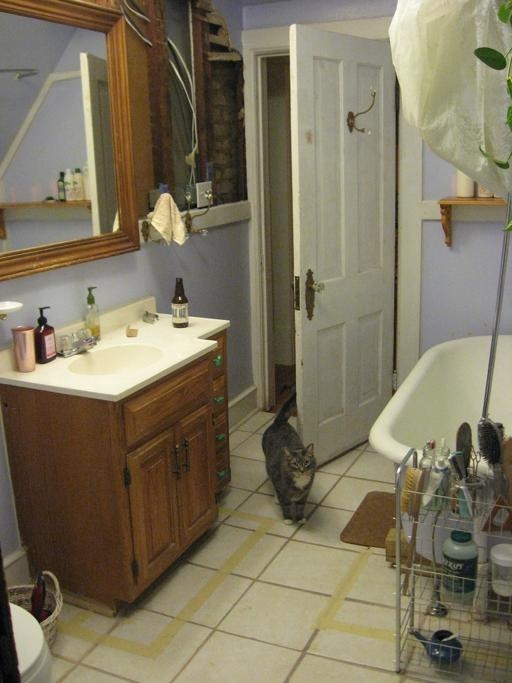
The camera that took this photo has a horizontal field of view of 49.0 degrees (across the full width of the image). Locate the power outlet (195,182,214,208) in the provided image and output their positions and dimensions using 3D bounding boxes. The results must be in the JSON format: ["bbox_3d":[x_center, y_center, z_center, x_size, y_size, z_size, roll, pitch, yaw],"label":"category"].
[{"bbox_3d":[-0.306,-0.870,3.312,0.023,0.185,0.152,11,17,37],"label":"power outlet"}]

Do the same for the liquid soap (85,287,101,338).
[{"bbox_3d":[-0.727,-0.127,2.499,0.065,0.232,0.218,-6,15,-15],"label":"liquid soap"}]

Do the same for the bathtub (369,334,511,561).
[{"bbox_3d":[0.939,0.317,2.755,0.560,0.390,1.138,7,40,27],"label":"bathtub"}]

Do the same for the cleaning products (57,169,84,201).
[{"bbox_3d":[-0.774,-0.655,2.331,0.052,0.175,0.115,13,18,24],"label":"cleaning products"}]

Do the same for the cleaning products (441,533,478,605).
[{"bbox_3d":[0.639,0.698,1.763,0.099,0.200,0.104,2,8,23],"label":"cleaning products"}]

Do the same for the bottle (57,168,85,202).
[{"bbox_3d":[-0.773,-0.656,2.334,0.050,0.167,0.112,14,23,19],"label":"bottle"}]

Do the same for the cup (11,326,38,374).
[{"bbox_3d":[-0.883,0.034,2.137,0.081,0.165,0.084,-2,14,0],"label":"cup"}]

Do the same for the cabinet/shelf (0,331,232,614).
[{"bbox_3d":[-0.564,0.546,2.409,0.576,0.947,0.712,6,16,29],"label":"cabinet/shelf"}]

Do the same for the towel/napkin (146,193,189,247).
[{"bbox_3d":[-0.460,-0.623,2.890,0.229,0.351,0.089,-2,5,-9],"label":"towel/napkin"}]

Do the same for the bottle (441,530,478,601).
[{"bbox_3d":[0.632,0.707,1.746,0.105,0.248,0.119,4,15,23],"label":"bottle"}]

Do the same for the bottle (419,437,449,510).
[{"bbox_3d":[0.551,0.414,1.727,0.085,0.197,0.125,3,15,18],"label":"bottle"}]

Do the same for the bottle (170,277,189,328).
[{"bbox_3d":[-0.364,-0.191,2.683,0.080,0.224,0.162,-4,14,-8],"label":"bottle"}]

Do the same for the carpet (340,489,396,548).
[{"bbox_3d":[0.554,0.887,2.771,0.252,0.007,0.461,5,22,20],"label":"carpet"}]
